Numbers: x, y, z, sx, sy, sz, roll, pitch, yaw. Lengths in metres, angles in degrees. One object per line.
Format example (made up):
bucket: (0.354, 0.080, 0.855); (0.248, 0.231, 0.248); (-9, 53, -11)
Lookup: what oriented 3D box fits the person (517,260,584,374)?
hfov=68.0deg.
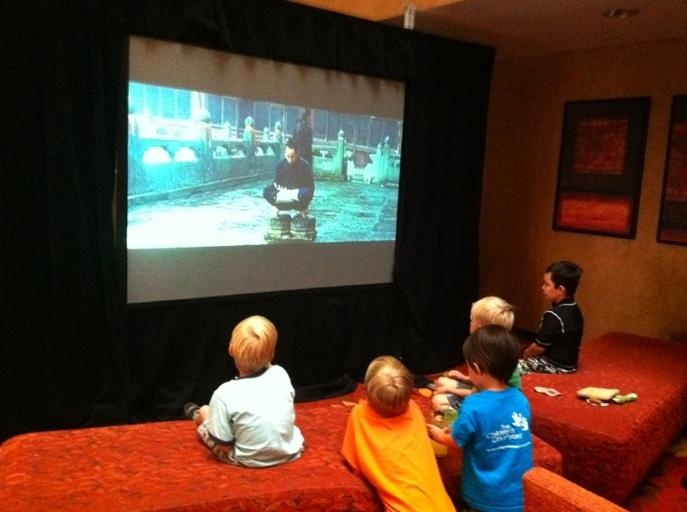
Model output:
person: (1.535, 0.481, 4.010); (0.606, 0.869, 0.480); (2, 2, 29)

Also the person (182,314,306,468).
person: (-0.601, 0.684, 2.943); (0.562, 0.862, 1.044); (0, 9, -20)
